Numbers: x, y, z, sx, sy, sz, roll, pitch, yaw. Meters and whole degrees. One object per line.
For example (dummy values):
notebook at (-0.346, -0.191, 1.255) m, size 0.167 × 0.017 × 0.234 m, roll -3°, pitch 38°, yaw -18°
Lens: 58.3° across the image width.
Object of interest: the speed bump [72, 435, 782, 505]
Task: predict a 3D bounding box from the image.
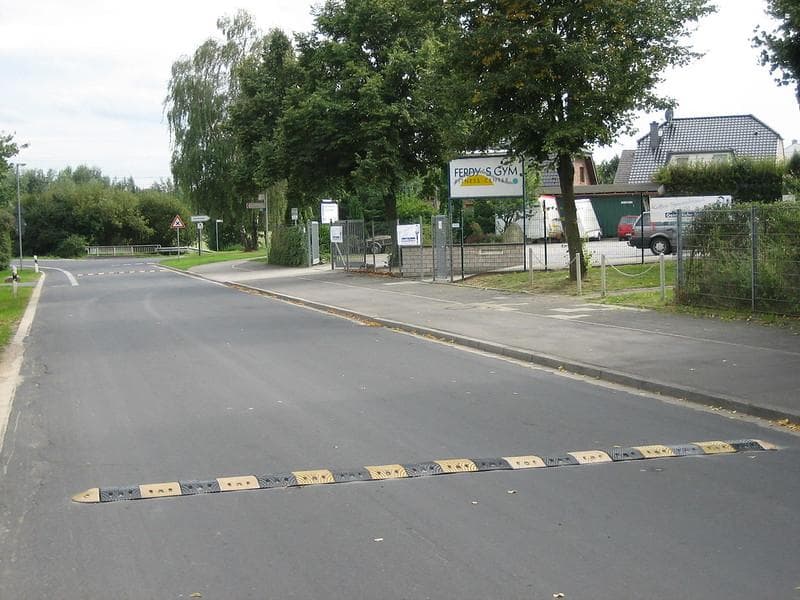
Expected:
speed bump at (0.258, 1.551, 6.565) m, size 6.104 × 0.091 × 0.389 m, roll -3°, pitch 4°, yaw -10°

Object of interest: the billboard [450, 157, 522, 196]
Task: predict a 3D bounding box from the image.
billboard at (3.191, -4.642, 26.934) m, size 2.742 × 1.549 × 0.448 m, roll -1°, pitch 4°, yaw 14°
